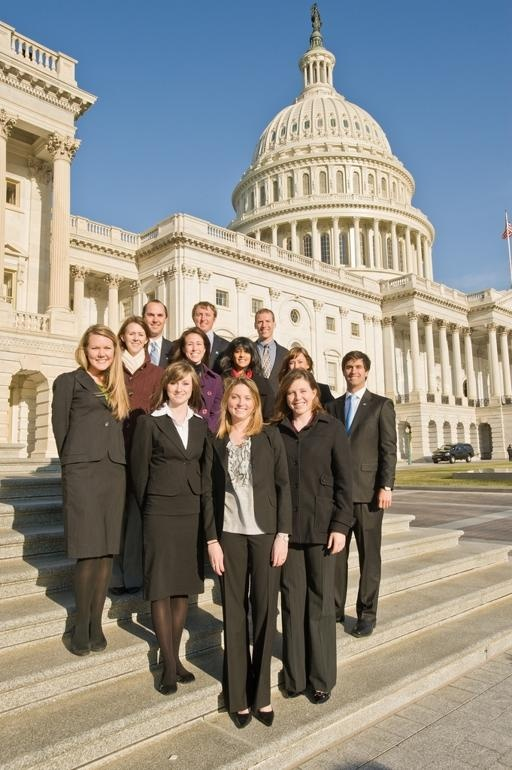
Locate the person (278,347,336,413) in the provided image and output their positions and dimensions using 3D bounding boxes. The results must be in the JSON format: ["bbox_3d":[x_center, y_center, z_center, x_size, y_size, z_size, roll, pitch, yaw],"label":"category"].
[{"bbox_3d":[0.413,-0.033,6.000,0.568,0.725,0.392,-1,9,8],"label":"person"}]

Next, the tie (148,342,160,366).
[{"bbox_3d":[-0.997,-0.302,6.912,0.142,0.233,0.060,-7,3,-32],"label":"tie"}]

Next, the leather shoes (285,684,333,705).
[{"bbox_3d":[0.354,2.053,4.596,0.301,0.100,0.110,-2,0,-36],"label":"leather shoes"}]

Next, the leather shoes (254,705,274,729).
[{"bbox_3d":[0.043,2.034,4.297,0.127,0.083,0.123,-1,-3,9],"label":"leather shoes"}]

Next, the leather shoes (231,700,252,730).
[{"bbox_3d":[-0.096,2.039,4.289,0.117,0.096,0.119,0,-3,-1],"label":"leather shoes"}]

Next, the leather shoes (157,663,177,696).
[{"bbox_3d":[-0.569,1.875,4.524,0.125,0.166,0.334,0,-3,-8],"label":"leather shoes"}]

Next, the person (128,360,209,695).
[{"bbox_3d":[-0.563,0.899,4.759,0.537,2.139,0.647,0,-3,-14],"label":"person"}]

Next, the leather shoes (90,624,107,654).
[{"bbox_3d":[-1.066,1.722,4.746,0.111,0.151,0.153,0,-3,-12],"label":"leather shoes"}]

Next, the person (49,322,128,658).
[{"bbox_3d":[-1.195,0.682,4.987,0.518,2.253,0.645,0,-3,-7],"label":"person"}]

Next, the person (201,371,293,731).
[{"bbox_3d":[-0.052,1.028,4.500,0.569,2.133,0.423,0,-3,-5],"label":"person"}]

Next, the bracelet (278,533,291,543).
[{"bbox_3d":[0.177,0.984,4.489,0.087,0.042,0.118,2,6,1],"label":"bracelet"}]

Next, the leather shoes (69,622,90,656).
[{"bbox_3d":[-1.177,1.705,4.656,0.140,0.169,0.117,-1,-3,8],"label":"leather shoes"}]

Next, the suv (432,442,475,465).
[{"bbox_3d":[13.260,4.636,47.742,1.400,1.222,2.953,-12,-15,42],"label":"suv"}]

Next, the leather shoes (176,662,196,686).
[{"bbox_3d":[-0.466,1.905,4.629,0.118,0.114,0.121,-1,-3,1],"label":"leather shoes"}]
